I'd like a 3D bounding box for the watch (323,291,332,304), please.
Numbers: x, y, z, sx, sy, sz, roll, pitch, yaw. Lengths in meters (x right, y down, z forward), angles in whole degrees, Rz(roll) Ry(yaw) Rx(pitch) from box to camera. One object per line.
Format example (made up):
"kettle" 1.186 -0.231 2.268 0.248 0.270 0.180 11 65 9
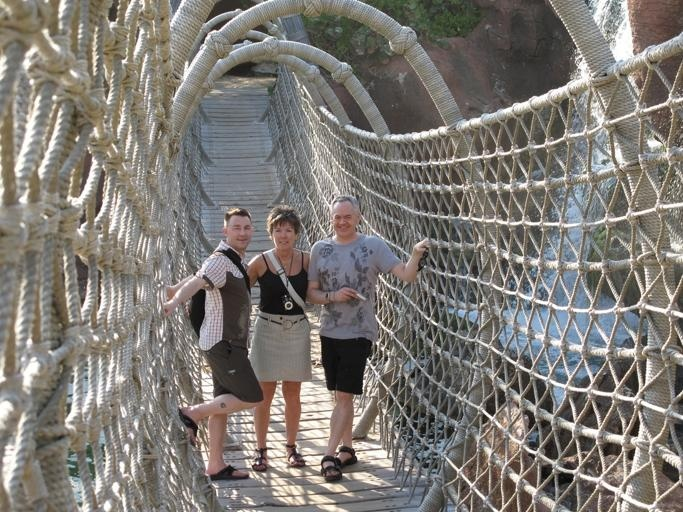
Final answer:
"watch" -0.065 0.194 4.049 0.029 0.054 0.050 3 9 11

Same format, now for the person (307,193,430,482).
"person" 0.103 0.377 4.106 0.544 1.317 0.332 2 1 3

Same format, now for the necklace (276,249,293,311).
"necklace" -0.276 0.095 4.077 0.032 0.226 0.031 -31 -20 18

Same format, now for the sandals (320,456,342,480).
"sandals" -0.051 0.977 4.001 0.079 0.073 0.227 0 -7 -1

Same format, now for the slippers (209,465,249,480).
"slippers" -0.521 1.011 4.064 0.193 0.087 0.069 -1 4 -8

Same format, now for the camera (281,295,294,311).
"camera" -0.252 0.222 4.080 0.040 0.061 0.096 0 10 -9

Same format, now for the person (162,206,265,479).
"person" -0.559 0.406 3.910 0.432 1.256 0.778 1 1 -12

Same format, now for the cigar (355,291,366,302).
"cigar" 0.084 0.190 4.030 0.020 0.029 0.090 11 -19 -16

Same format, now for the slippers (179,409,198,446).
"slippers" -0.661 0.752 3.728 0.049 0.179 0.063 -14 21 5
